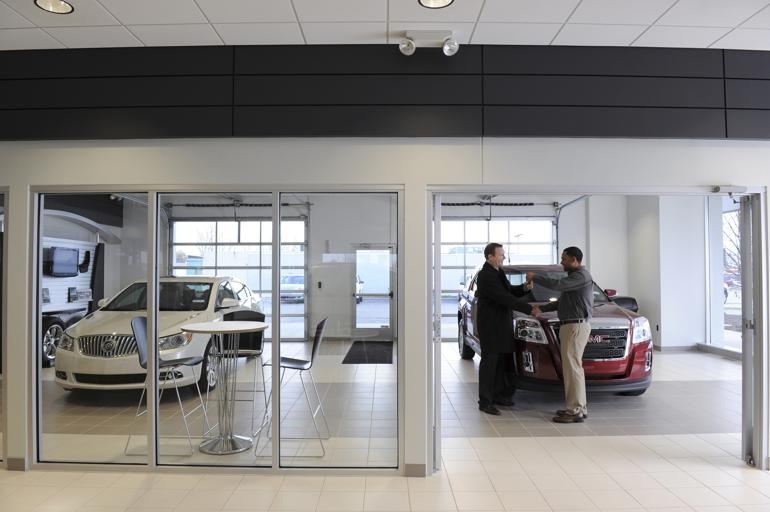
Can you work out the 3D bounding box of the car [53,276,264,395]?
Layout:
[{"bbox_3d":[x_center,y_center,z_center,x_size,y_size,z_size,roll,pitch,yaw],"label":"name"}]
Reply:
[{"bbox_3d":[-2.595,0.781,5.900,1.125,0.845,1.985,-2,-3,12],"label":"car"}]

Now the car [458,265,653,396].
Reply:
[{"bbox_3d":[2.237,0.979,8.676,1.688,1.131,2.649,1,-6,-12],"label":"car"}]

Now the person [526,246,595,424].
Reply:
[{"bbox_3d":[2.261,0.925,7.549,0.597,2.088,1.075,1,12,7],"label":"person"}]

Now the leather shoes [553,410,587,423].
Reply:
[{"bbox_3d":[2.212,1.951,7.308,0.427,0.191,0.158,4,-4,0],"label":"leather shoes"}]
